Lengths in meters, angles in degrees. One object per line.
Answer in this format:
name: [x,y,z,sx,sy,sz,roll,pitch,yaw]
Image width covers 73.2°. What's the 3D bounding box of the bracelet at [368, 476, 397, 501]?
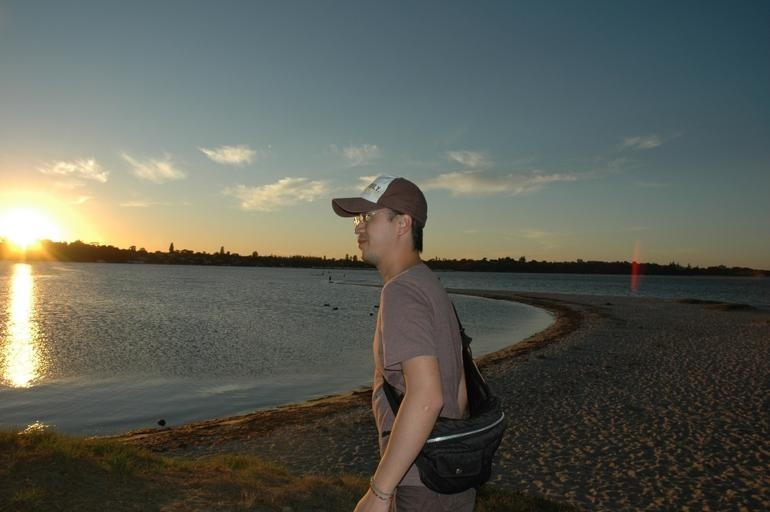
bracelet: [-0.090,3.688,8.289,0.377,0.101,0.369,32,-31,-18]
